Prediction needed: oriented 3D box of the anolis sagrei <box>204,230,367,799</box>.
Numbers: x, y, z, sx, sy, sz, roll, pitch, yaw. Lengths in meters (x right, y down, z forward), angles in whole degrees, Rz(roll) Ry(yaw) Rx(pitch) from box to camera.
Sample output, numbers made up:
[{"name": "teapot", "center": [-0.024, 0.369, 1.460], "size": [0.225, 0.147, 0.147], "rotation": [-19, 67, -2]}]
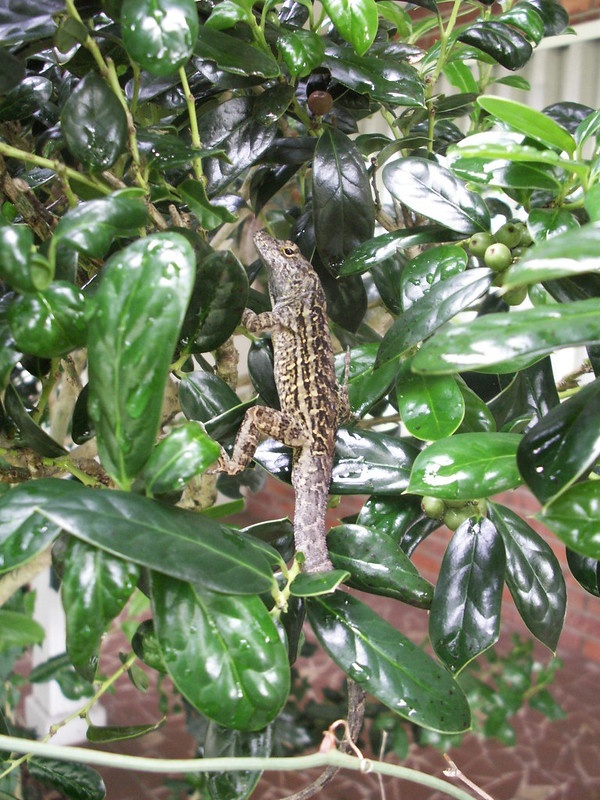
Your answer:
[{"name": "anolis sagrei", "center": [-0.039, 0.078, 1.224], "size": [0.128, 0.997, 0.324], "rotation": [-32, -41, 32]}]
